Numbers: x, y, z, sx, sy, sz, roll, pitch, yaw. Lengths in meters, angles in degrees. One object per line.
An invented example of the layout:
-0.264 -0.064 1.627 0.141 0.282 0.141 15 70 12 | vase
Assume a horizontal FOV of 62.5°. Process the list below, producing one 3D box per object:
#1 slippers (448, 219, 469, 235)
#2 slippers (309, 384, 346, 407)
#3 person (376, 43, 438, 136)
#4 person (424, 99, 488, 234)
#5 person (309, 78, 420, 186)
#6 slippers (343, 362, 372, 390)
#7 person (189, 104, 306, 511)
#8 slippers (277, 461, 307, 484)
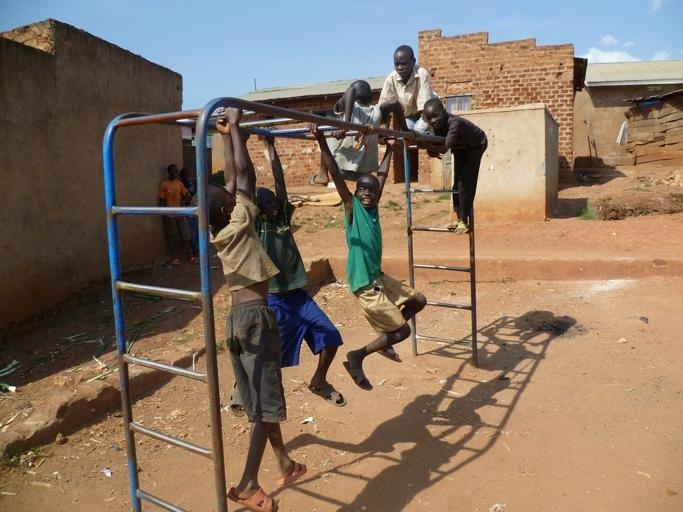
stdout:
1.307 -0.314 6.310 0.147 0.106 0.265 -4 -3 18 | slippers
-0.116 1.187 4.820 0.368 0.114 0.139 20 21 29 | slippers
0.773 -1.892 6.501 0.643 0.963 0.760 10 26 37 | person
1.155 -0.943 5.867 0.474 1.393 0.744 7 16 40 | person
0.143 -1.301 6.256 0.930 1.325 0.887 -13 33 -33 | person
0.131 1.070 5.009 0.216 0.351 0.258 -4 12 -2 | slippers
-0.670 0.392 3.946 0.483 2.781 0.633 -5 12 -7 | person
-0.375 1.661 4.377 0.129 0.111 0.266 3 14 29 | slippers
